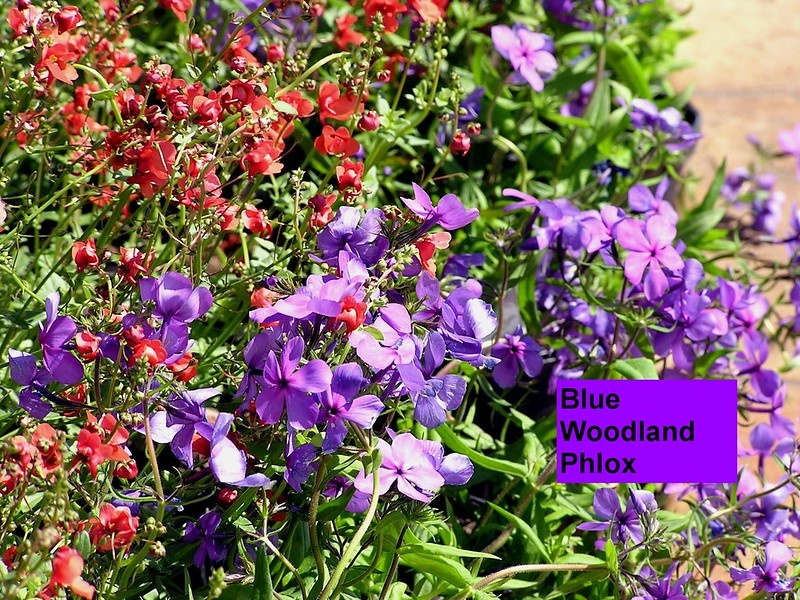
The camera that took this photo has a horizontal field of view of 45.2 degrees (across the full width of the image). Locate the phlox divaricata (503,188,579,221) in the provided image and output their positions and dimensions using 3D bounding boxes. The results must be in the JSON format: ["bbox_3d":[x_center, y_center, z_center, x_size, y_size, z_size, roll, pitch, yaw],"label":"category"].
[{"bbox_3d":[0.257,-0.156,1.680,0.084,0.088,0.030,14,91,41],"label":"phlox divaricata"}]

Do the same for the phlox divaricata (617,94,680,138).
[{"bbox_3d":[0.488,-0.354,1.854,0.083,0.081,0.032,48,114,39],"label":"phlox divaricata"}]

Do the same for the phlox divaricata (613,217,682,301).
[{"bbox_3d":[0.386,-0.070,1.497,0.023,0.103,0.128,160,130,-75],"label":"phlox divaricata"}]

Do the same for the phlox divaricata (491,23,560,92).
[{"bbox_3d":[0.239,-0.505,1.932,0.131,0.119,0.042,126,143,-60],"label":"phlox divaricata"}]
